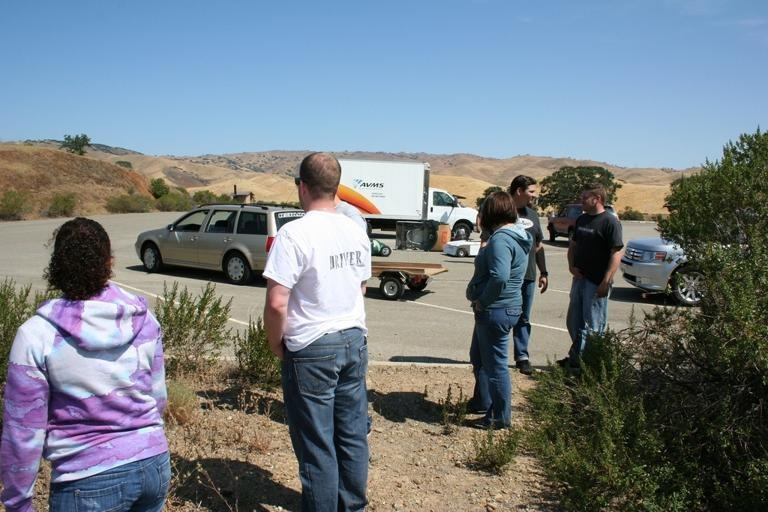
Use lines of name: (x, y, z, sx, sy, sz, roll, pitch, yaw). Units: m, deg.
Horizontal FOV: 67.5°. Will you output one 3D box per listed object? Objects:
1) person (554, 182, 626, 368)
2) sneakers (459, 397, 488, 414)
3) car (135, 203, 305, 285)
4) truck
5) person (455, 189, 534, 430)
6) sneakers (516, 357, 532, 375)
person: (2.502, 0.253, 6.987, 0.635, 2.271, 0.738, 4, 4, 28)
sneakers: (0.897, 1.583, 6.043, 0.377, 0.180, 0.143, -2, 1, 11)
car: (-4.262, -0.269, 14.861, 4.588, 1.933, 2.134, 8, 7, 23)
truck: (0.835, -2.838, 26.695, 7.423, 4.185, 2.757, 0, 6, 1)
person: (1.112, 0.529, 5.717, 0.573, 2.387, 0.818, 3, 3, 14)
sneakers: (1.747, 1.388, 7.199, 0.117, 0.234, 0.234, -8, -3, -31)
